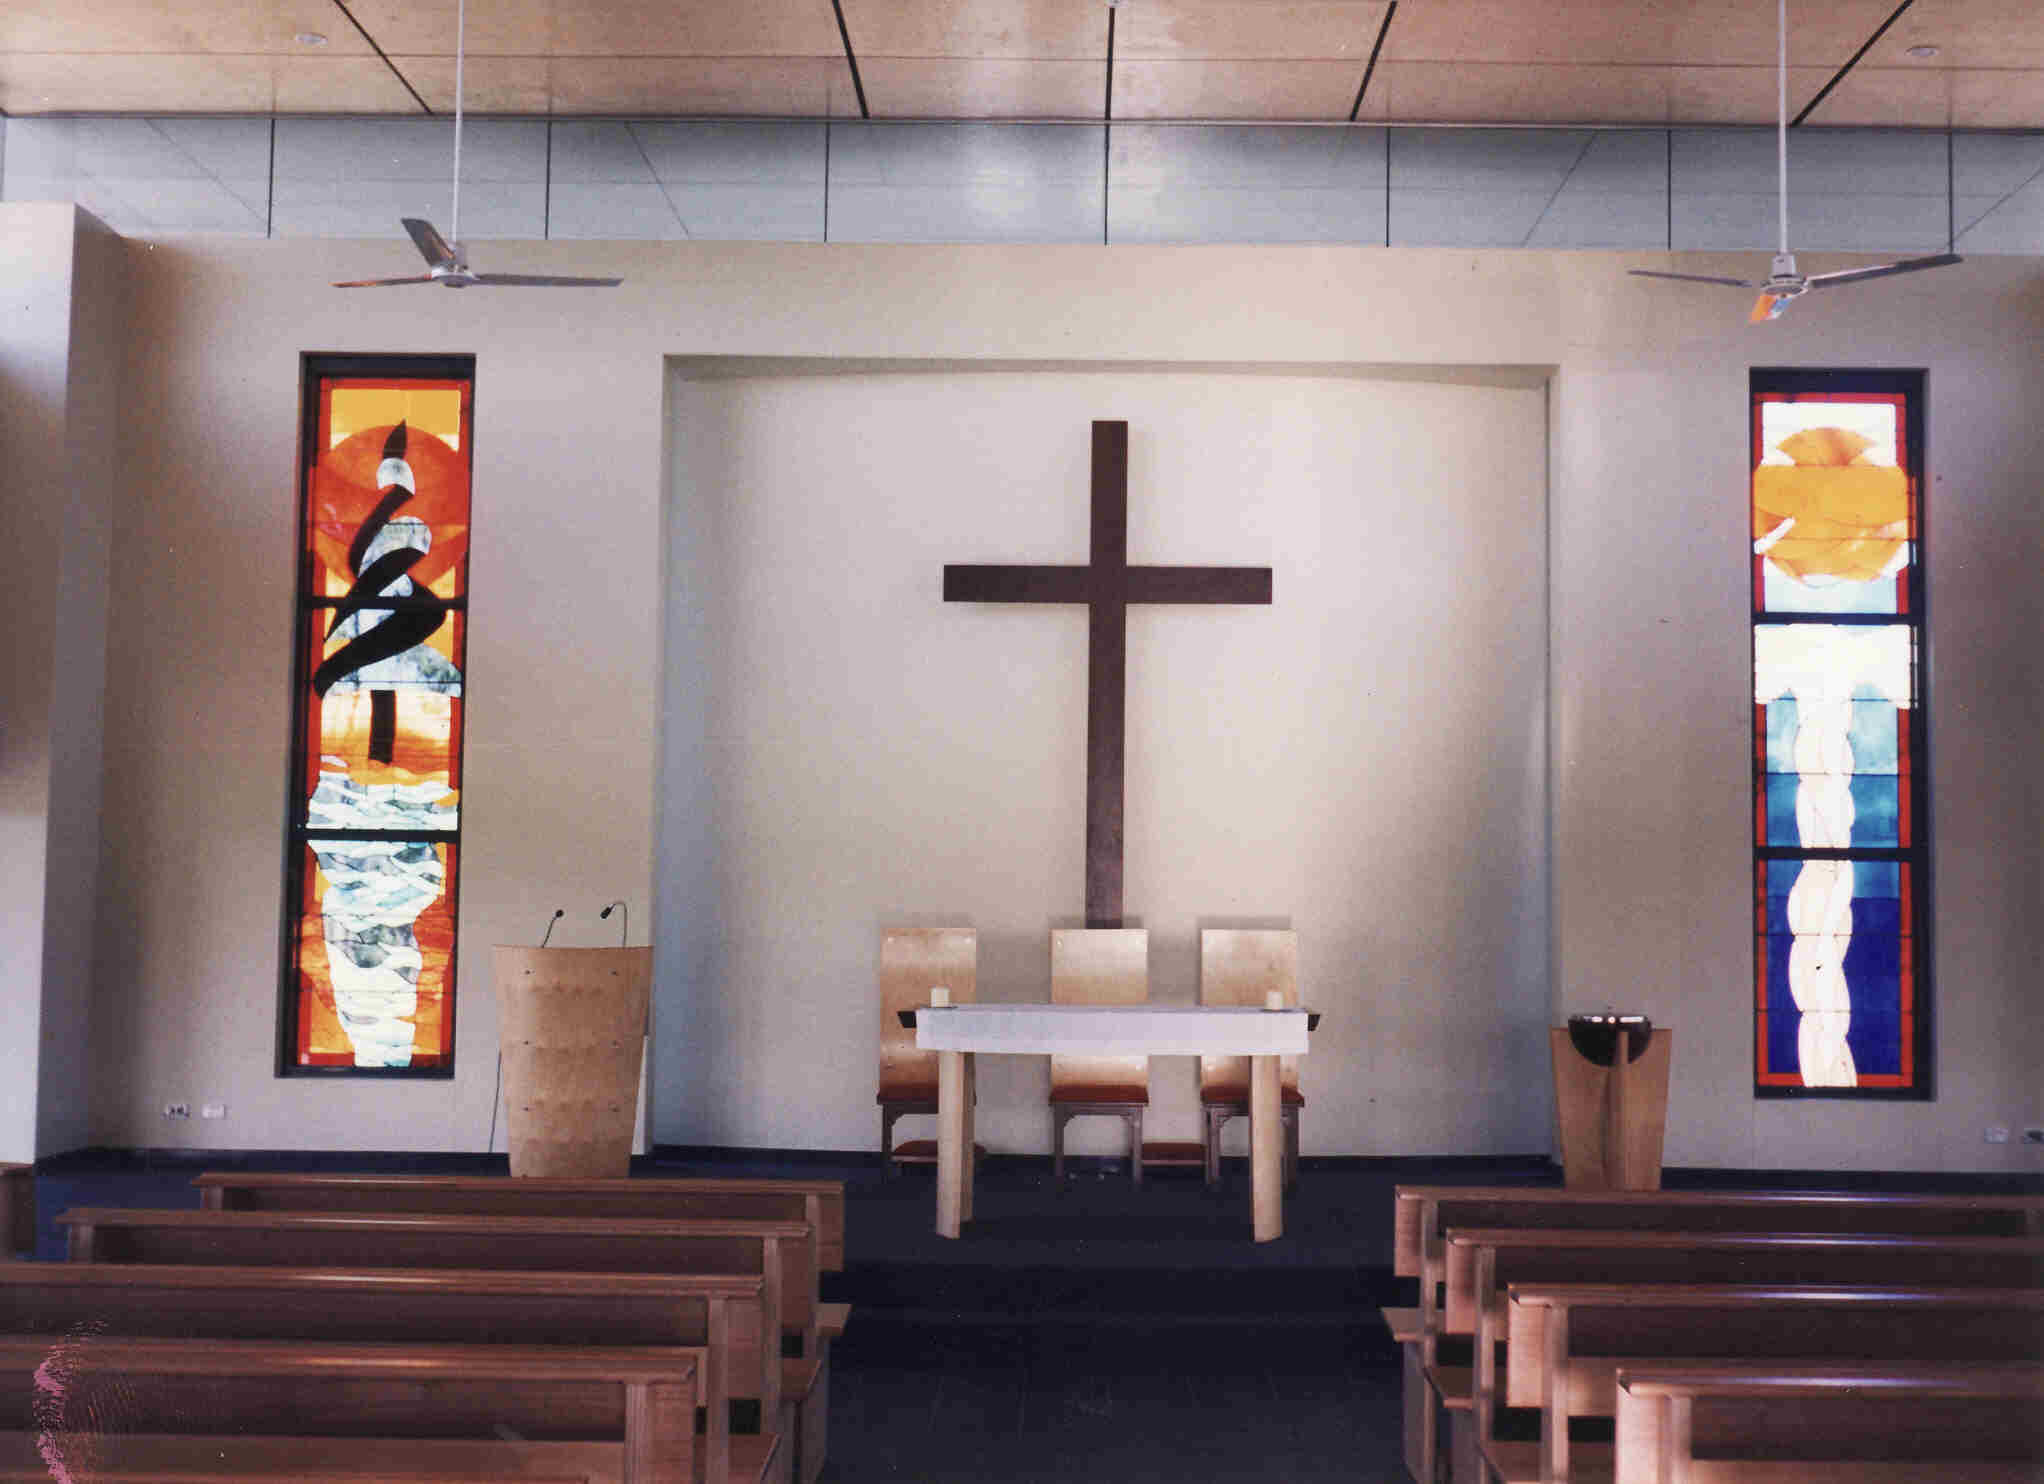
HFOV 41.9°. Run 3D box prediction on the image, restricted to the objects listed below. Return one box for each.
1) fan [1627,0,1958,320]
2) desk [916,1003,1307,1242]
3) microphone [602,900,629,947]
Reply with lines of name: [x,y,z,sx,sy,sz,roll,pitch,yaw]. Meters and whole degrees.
fan: [3.356,-2.505,11.448,1.474,1.443,1.521,1,0,-6]
desk: [0.309,1.444,10.769,1.718,0.942,0.598,1,13,-8]
microphone: [-1.720,0.773,11.332,0.130,0.180,0.193,1,-4,-12]
